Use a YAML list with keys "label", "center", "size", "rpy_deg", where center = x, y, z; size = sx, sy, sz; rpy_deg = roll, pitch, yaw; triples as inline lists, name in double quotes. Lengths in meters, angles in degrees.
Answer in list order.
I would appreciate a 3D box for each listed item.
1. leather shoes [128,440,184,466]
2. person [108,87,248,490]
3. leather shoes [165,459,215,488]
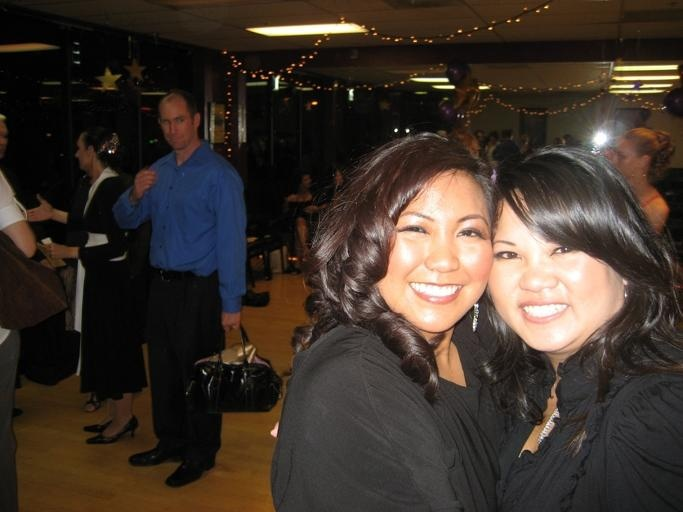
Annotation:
- label: "leather shoes"
  center: [-1.099, 1.186, 3.662]
  size: [0.394, 0.165, 0.127]
  rpy_deg: [9, 3, -15]
- label: "person"
  center: [-0.923, 0.142, 3.530]
  size: [0.697, 2.172, 0.593]
  rpy_deg: [-2, 12, -12]
- label: "leather shoes"
  center: [-0.851, 1.228, 3.435]
  size: [0.280, 0.111, 0.095]
  rpy_deg: [5, -2, -45]
